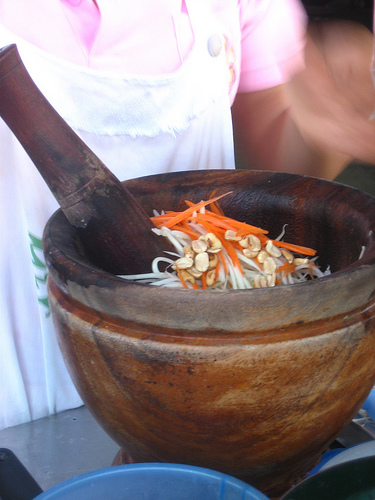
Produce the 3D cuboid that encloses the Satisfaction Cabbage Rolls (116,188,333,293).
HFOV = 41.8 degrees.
[{"bbox_3d":[0.079,0.019,0.920,0.283,0.081,0.219,15,27,-1],"label":"Satisfaction Cabbage Rolls"}]
